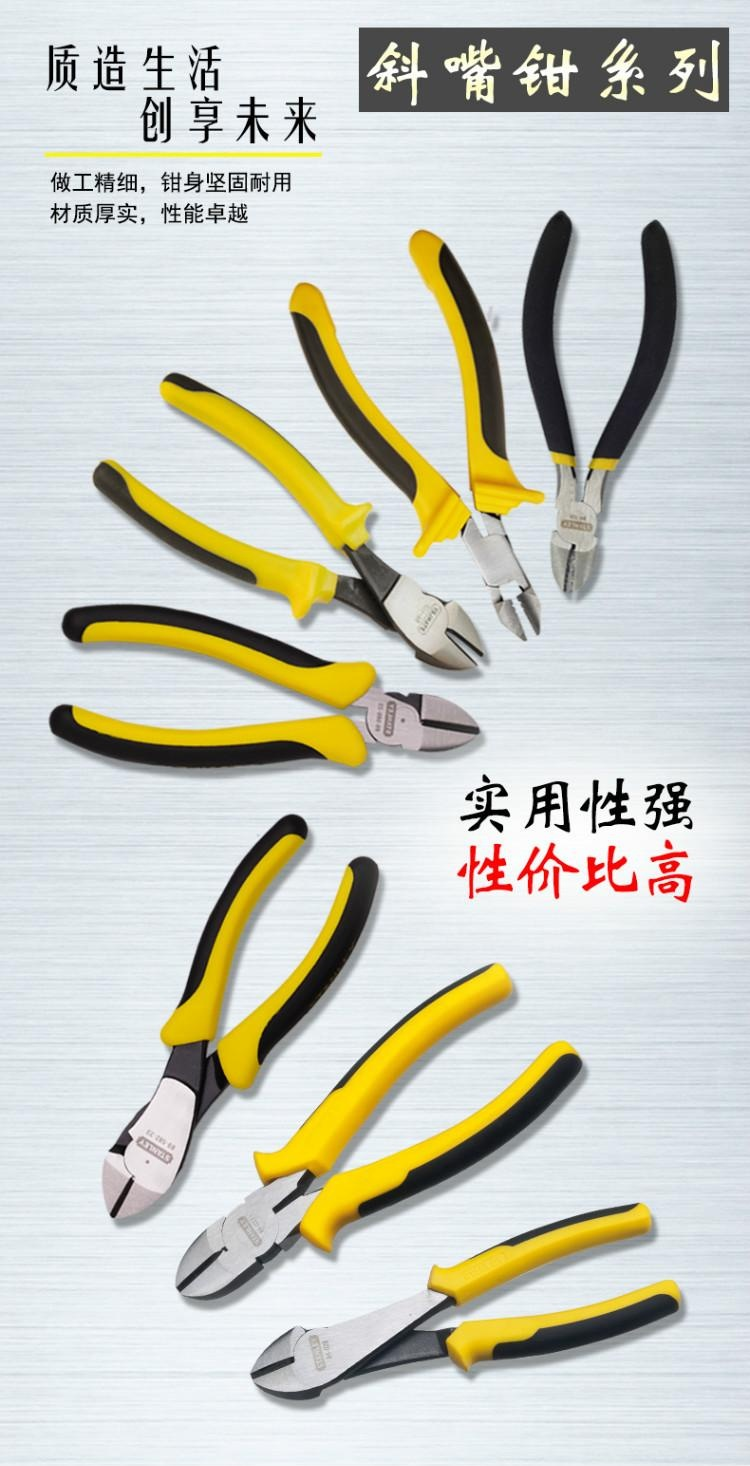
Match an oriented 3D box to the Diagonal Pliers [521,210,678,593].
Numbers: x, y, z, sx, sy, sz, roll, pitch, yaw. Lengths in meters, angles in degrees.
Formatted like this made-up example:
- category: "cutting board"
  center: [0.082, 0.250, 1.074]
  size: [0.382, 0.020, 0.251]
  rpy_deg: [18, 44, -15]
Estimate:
- category: "Diagonal Pliers"
  center: [0.388, -0.600, 2.218]
  size: [0.275, 0.625, 0.137]
  rpy_deg: [5, -1, 10]
